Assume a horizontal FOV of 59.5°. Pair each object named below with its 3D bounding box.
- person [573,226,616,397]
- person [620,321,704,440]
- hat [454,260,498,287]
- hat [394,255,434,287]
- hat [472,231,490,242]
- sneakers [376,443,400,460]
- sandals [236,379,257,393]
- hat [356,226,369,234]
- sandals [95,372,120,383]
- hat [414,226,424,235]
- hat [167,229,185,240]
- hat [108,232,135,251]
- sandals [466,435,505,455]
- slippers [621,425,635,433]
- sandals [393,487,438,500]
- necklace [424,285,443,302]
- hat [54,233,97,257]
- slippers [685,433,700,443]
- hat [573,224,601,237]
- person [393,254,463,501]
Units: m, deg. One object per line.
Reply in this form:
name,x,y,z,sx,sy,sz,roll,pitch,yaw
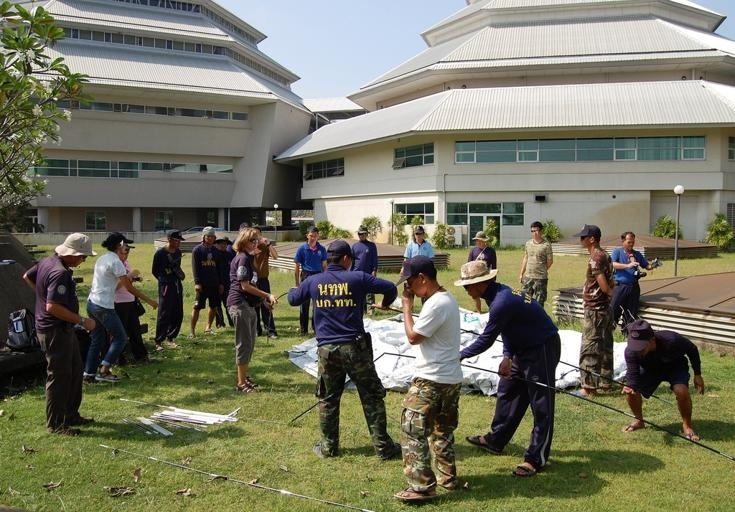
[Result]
person,4.264,1.013,11.907,0.638,3.117,0.745,2,0,15
person,4.889,2.045,10.762,1.258,1.958,0.543,2,0,-9
hat,1.715,0.258,9.999,0.478,0.185,0.452,-20,0,-17
hat,0.732,0.226,9.649,0.522,0.278,0.371,-6,5,2
hat,2.967,-0.476,16.300,0.330,0.186,0.326,1,1,-26
sneakers,0.360,3.094,10.293,0.187,0.281,0.402,12,18,39
sandals,-2.272,2.458,12.122,0.247,0.099,0.266,-1,3,2
hat,-0.078,-0.663,16.174,0.297,0.145,0.250,15,-14,-42
sandals,-5.007,2.332,12.409,0.462,0.214,0.170,2,-1,-6
hat,1.357,-0.661,16.621,0.223,0.198,0.343,2,0,9
hat,-4.172,-0.455,13.900,0.309,0.156,0.236,5,4,37
hat,-4.876,-0.291,12.714,0.528,0.292,0.334,-11,16,-42
sandals,1.938,3.036,10.523,0.567,0.166,0.226,25,5,32
slippers,4.476,2.958,10.979,0.110,0.085,0.275,9,-7,-4
sandals,0.718,3.488,9.385,0.478,0.148,0.234,4,-10,-7
necklace,0.970,0.569,9.583,0.268,0.069,0.211,-39,-10,16
hat,-4.967,-0.150,10.913,0.537,0.286,0.526,1,0,-14
slippers,5.426,2.998,10.642,0.251,0.121,0.136,2,0,-36
hat,4.184,-0.462,12.278,0.311,0.208,0.467,-3,2,-27
person,0.933,1.811,9.543,0.952,3.589,0.414,2,0,-1
